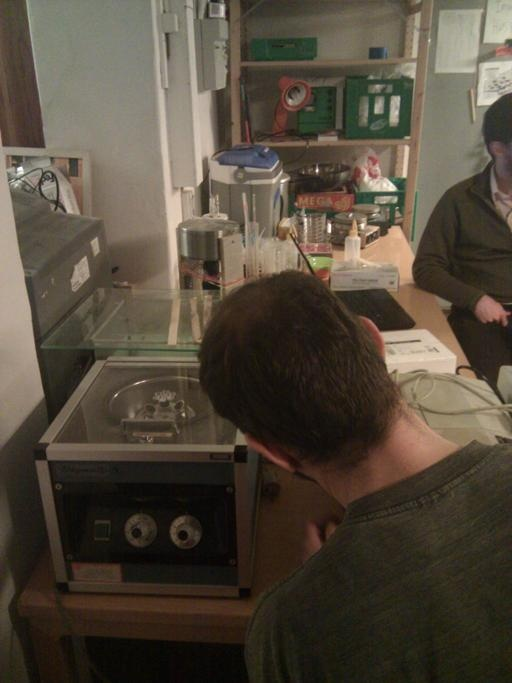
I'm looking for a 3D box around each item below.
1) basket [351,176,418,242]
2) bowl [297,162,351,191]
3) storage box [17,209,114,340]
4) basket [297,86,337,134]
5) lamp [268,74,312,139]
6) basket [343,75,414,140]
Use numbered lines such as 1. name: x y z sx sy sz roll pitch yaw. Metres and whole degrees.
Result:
1. basket: 0.697 -0.746 3.108 0.269 0.195 0.438 2 23 10
2. bowl: 0.372 -0.947 3.249 0.345 0.129 0.327 0 22 0
3. storage box: -0.433 -0.148 1.261 0.167 0.221 0.301 1 34 0
4. basket: 0.342 -1.276 3.136 0.204 0.369 0.255 -2 43 4
5. lamp: 0.199 -1.357 3.278 0.216 0.312 0.484 0 22 2
6. basket: 0.648 -1.253 3.000 0.337 0.282 0.332 1 30 6
